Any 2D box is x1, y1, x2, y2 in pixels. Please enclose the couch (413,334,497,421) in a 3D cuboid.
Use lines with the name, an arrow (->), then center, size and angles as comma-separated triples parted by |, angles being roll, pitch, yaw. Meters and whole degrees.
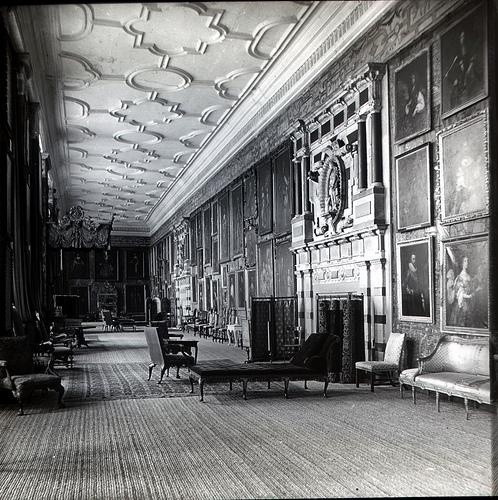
couch -> 2.617, 1.614, 5.275 | 0.590, 1.044, 1.280 | 2, -7, -18

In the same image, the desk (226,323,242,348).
desk -> -0.563, 3.216, 16.153 | 0.636, 0.799, 1.003 | 1, -7, -5

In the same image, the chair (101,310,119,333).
chair -> -8.136, 4.086, 24.454 | 0.922, 1.217, 2.812 | 1, -8, -18

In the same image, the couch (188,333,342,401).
couch -> 0.177, 1.980, 7.129 | 2.067, 1.242, 1.279 | 2, -9, -9

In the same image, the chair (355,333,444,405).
chair -> 2.354, 1.938, 7.226 | 0.872, 1.538, 0.844 | 3, -7, -19
